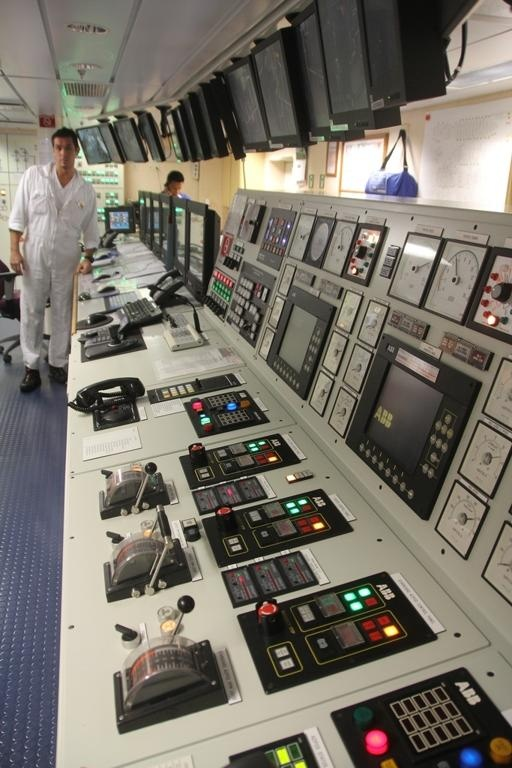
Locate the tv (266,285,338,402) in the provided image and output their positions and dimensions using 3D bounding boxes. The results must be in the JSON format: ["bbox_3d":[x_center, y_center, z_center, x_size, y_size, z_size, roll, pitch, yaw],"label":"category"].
[{"bbox_3d":[0.158,-0.128,1.511,0.027,0.344,0.354,15,14,-24],"label":"tv"}]

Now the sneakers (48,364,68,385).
[{"bbox_3d":[-1.797,-0.085,4.042,0.210,0.210,0.111,5,18,-1],"label":"sneakers"}]

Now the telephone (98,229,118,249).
[{"bbox_3d":[-1.974,-1.929,5.910,0.192,0.254,0.561,7,15,-20],"label":"telephone"}]

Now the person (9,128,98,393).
[{"bbox_3d":[-1.712,-0.945,3.747,0.670,2.167,0.470,4,15,-30],"label":"person"}]

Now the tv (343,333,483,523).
[{"bbox_3d":[0.334,0.090,1.041,0.302,0.292,0.033,32,-11,-26],"label":"tv"}]
